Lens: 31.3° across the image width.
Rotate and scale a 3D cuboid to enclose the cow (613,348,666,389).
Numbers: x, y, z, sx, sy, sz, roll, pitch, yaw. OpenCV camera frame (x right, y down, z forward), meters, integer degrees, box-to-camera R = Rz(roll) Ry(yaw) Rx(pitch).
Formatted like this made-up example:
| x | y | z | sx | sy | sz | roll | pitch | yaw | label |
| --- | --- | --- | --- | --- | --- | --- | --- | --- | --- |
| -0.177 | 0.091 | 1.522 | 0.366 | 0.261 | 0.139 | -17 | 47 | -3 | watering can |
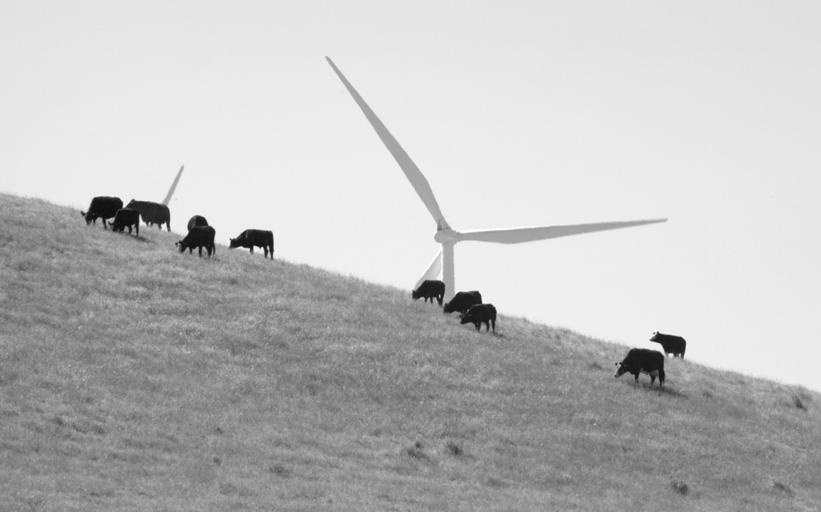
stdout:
| x | y | z | sx | sy | sz | roll | pitch | yaw | label |
| --- | --- | --- | --- | --- | --- | --- | --- | --- | --- |
| 9.587 | 4.534 | 60.381 | 2.070 | 1.535 | 1.647 | 16 | -31 | -9 | cow |
